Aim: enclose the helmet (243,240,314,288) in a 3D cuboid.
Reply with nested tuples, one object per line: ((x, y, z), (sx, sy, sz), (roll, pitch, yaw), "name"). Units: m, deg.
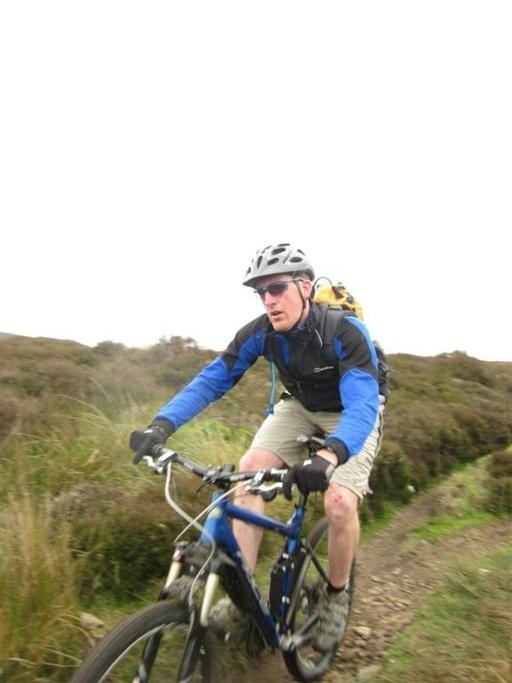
((0.136, -0.532, 3.336), (0.310, 0.161, 0.234), (-5, 7, 41), "helmet")

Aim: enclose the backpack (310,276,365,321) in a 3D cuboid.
((0.499, -0.250, 3.469), (0.388, 0.168, 0.308), (40, -9, -27), "backpack")
